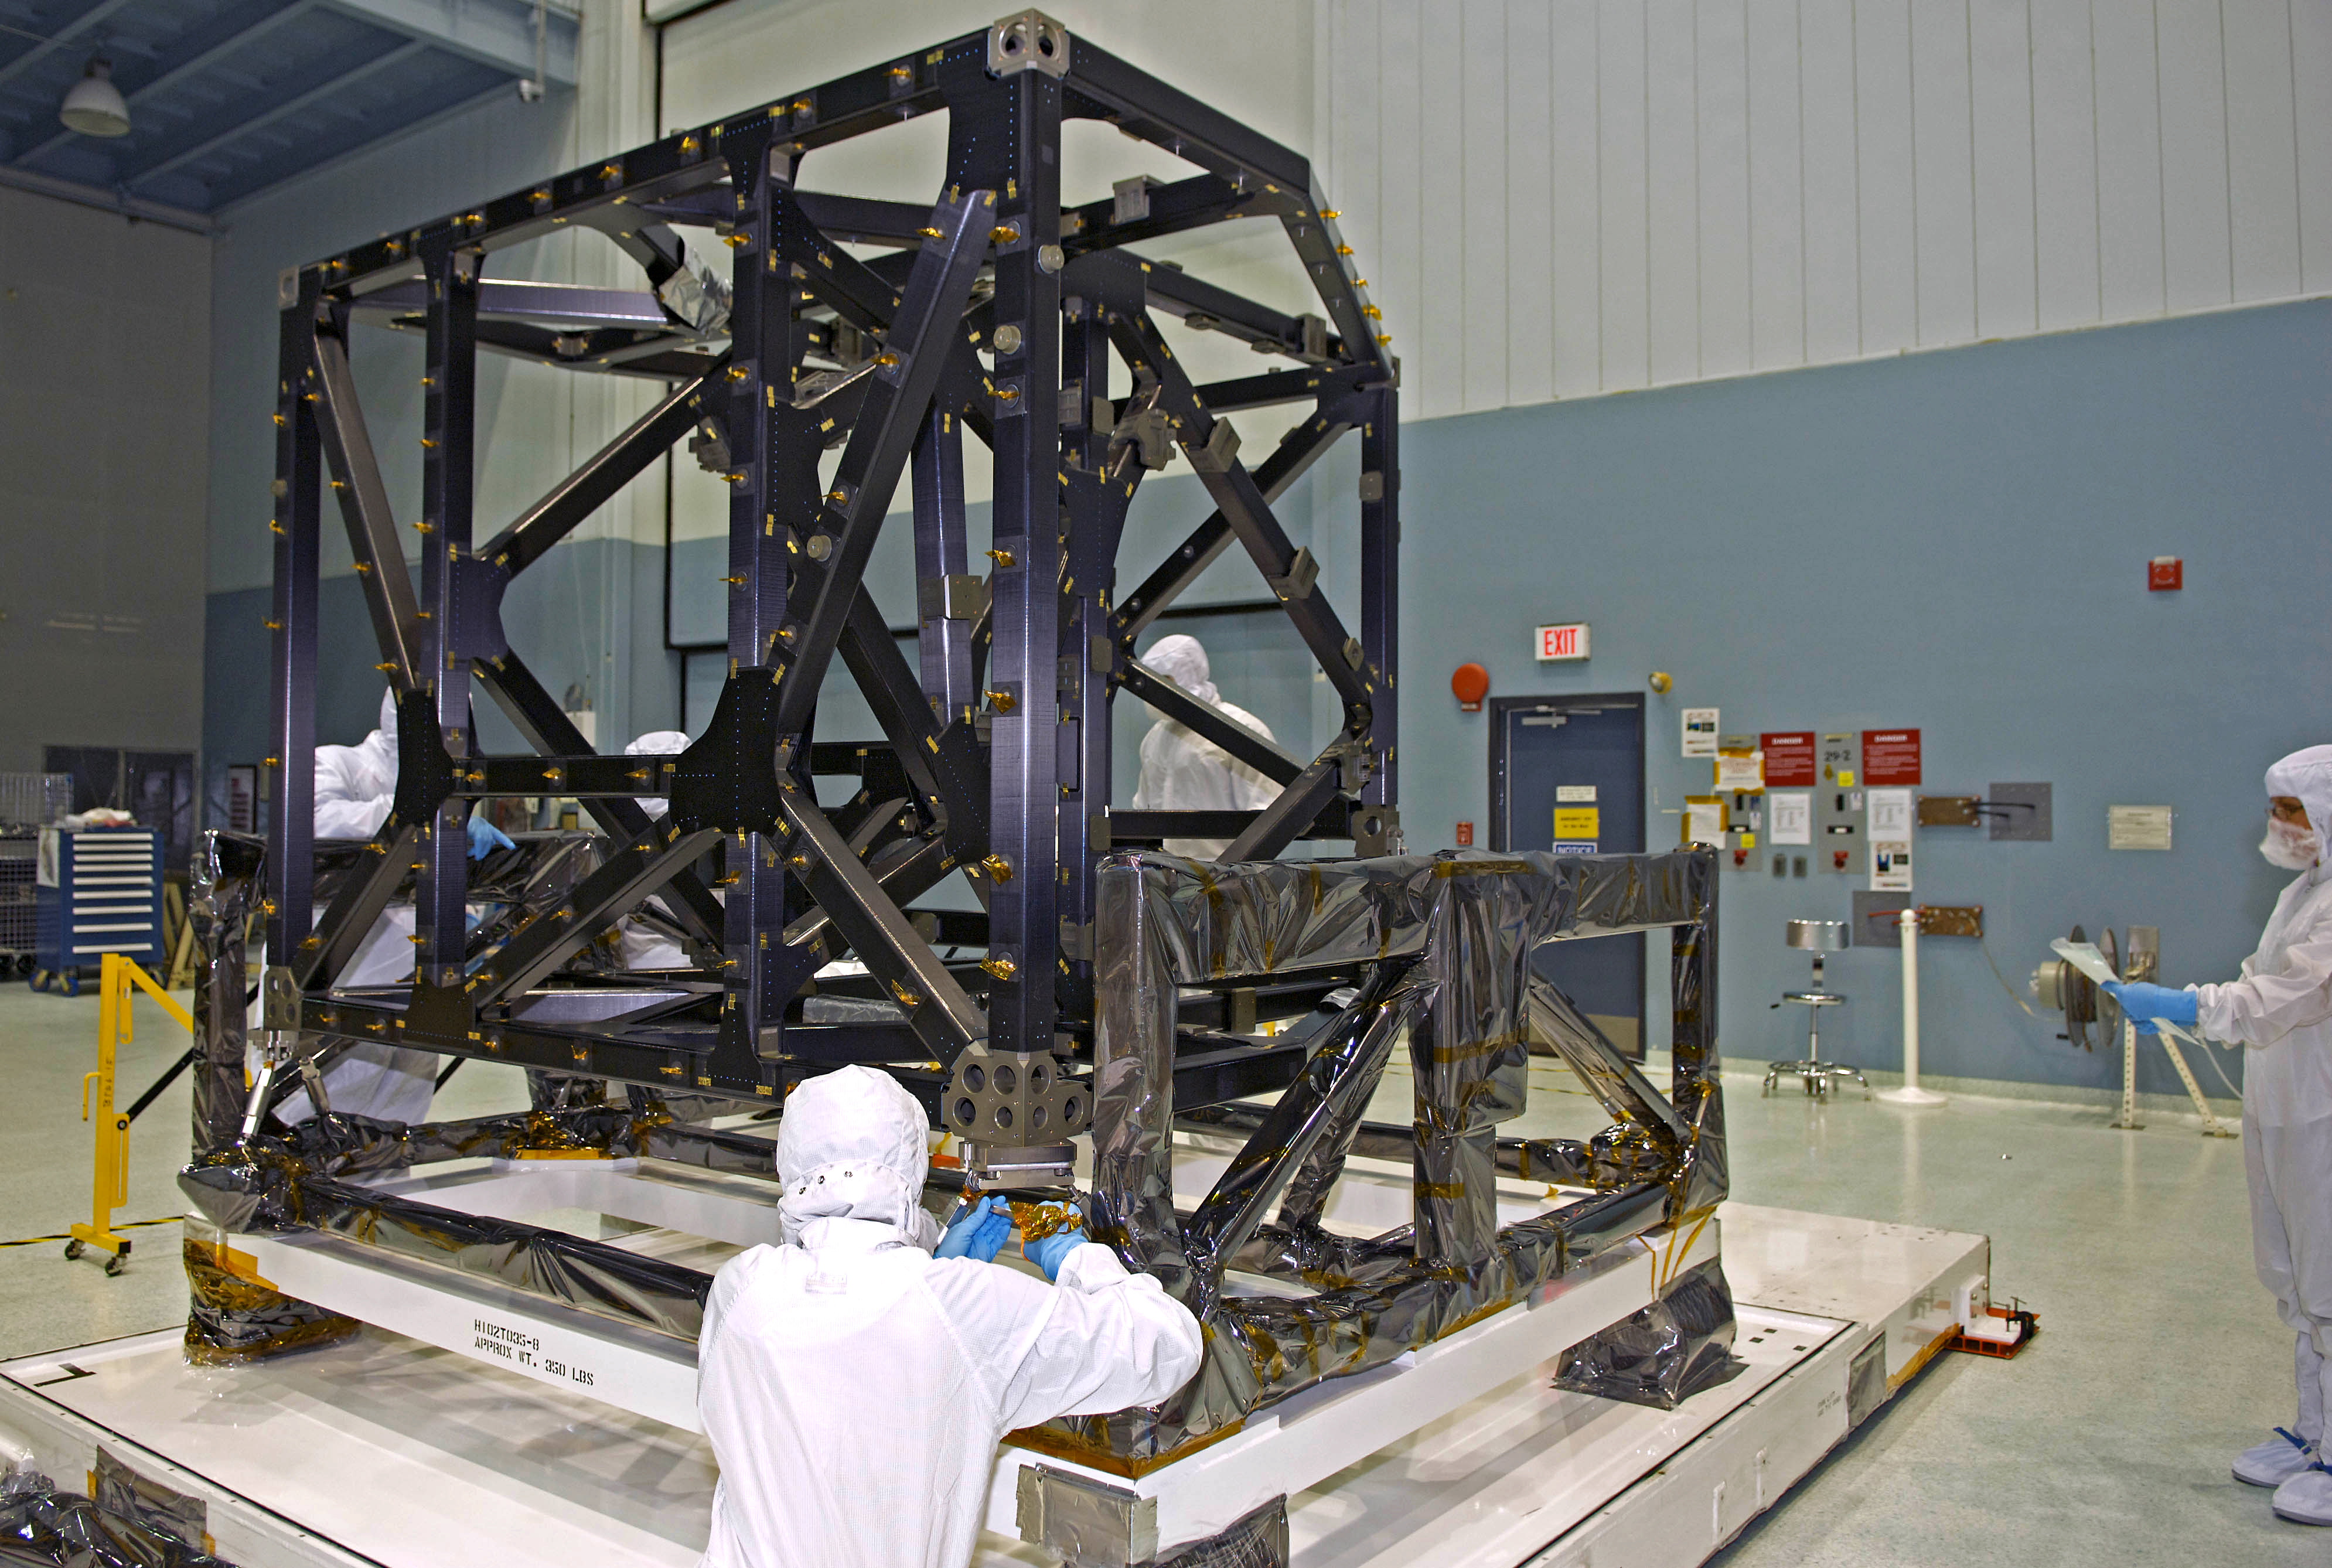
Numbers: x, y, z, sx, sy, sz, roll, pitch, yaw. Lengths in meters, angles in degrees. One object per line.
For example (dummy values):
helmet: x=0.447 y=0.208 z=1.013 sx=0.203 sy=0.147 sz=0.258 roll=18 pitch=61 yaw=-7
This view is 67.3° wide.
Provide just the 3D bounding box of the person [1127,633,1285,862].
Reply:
person: x=0.201 y=-0.215 z=8.800 sx=0.653 sy=1.171 sz=2.234 roll=-2 pitch=-1 yaw=-1

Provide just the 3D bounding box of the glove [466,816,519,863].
glove: x=-2.658 y=0.236 z=6.949 sx=0.170 sy=0.196 sz=0.364 roll=-2 pitch=-1 yaw=-21

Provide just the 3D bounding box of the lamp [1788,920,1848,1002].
lamp: x=4.261 y=1.159 z=11.435 sx=0.338 sy=0.518 sz=0.445 roll=-2 pitch=0 yaw=21

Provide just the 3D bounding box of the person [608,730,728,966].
person: x=-2.210 y=0.284 z=7.605 sx=0.302 sy=1.106 sz=2.982 roll=-2 pitch=-1 yaw=-15

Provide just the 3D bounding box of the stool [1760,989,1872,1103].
stool: x=4.261 y=1.708 z=11.481 sx=0.608 sy=0.694 sz=0.620 roll=2 pitch=-1 yaw=-27

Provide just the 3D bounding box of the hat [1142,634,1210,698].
hat: x=0.078 y=-0.563 z=8.803 sx=0.285 sy=0.308 sz=0.504 roll=-2 pitch=-1 yaw=-4

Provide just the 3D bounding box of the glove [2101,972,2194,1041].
glove: x=3.596 y=0.787 z=6.437 sx=0.319 sy=0.231 sz=0.142 roll=12 pitch=41 yaw=29

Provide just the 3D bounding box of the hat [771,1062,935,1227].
hat: x=-0.807 y=0.957 z=4.601 sx=0.404 sy=0.423 sz=0.346 roll=-4 pitch=0 yaw=-15
